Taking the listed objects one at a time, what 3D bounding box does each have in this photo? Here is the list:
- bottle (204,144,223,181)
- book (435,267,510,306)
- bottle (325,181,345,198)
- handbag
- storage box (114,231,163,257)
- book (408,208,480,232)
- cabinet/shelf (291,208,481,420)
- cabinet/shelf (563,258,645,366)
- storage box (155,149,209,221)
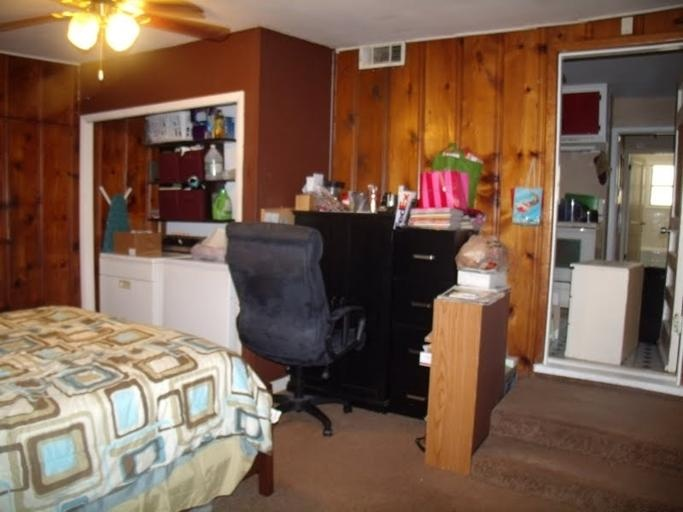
[{"bbox_3d":[-1.174,-0.871,5.014,0.169,0.326,0.092,-1,5,-15],"label":"bottle"},{"bbox_3d":[0.934,0.210,3.764,0.260,0.101,0.362,5,11,35],"label":"book"},{"bbox_3d":[-0.055,-0.564,4.623,0.138,0.108,0.143,1,4,0],"label":"bottle"},{"bbox_3d":[0.883,-0.588,4.322,0.390,0.487,0.290,7,-9,27],"label":"handbag"},{"bbox_3d":[-1.866,-0.160,5.131,0.358,0.183,0.254,5,5,38],"label":"storage box"},{"bbox_3d":[0.815,-0.279,4.164,0.611,0.182,0.327,0,6,-1],"label":"book"},{"bbox_3d":[0.362,0.414,3.970,1.369,1.391,0.501,6,11,31],"label":"cabinet/shelf"},{"bbox_3d":[2.259,0.484,4.805,0.618,1.135,1.199,4,16,30],"label":"cabinet/shelf"},{"bbox_3d":[-1.471,-0.665,5.109,0.644,0.656,0.219,3,4,42],"label":"storage box"}]
